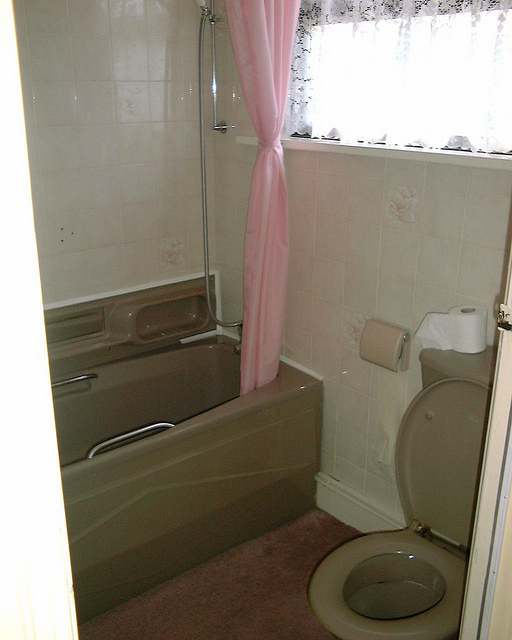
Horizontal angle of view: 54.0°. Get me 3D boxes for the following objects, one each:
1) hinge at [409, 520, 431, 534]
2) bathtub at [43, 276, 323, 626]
[{"bbox_3d":[0.528,0.674,1.640,0.041,0.019,0.032,30,21,26],"label":"hinge"},{"bbox_3d":[-0.310,0.403,2.186,1.092,0.942,0.767,-12,22,-30],"label":"bathtub"}]
